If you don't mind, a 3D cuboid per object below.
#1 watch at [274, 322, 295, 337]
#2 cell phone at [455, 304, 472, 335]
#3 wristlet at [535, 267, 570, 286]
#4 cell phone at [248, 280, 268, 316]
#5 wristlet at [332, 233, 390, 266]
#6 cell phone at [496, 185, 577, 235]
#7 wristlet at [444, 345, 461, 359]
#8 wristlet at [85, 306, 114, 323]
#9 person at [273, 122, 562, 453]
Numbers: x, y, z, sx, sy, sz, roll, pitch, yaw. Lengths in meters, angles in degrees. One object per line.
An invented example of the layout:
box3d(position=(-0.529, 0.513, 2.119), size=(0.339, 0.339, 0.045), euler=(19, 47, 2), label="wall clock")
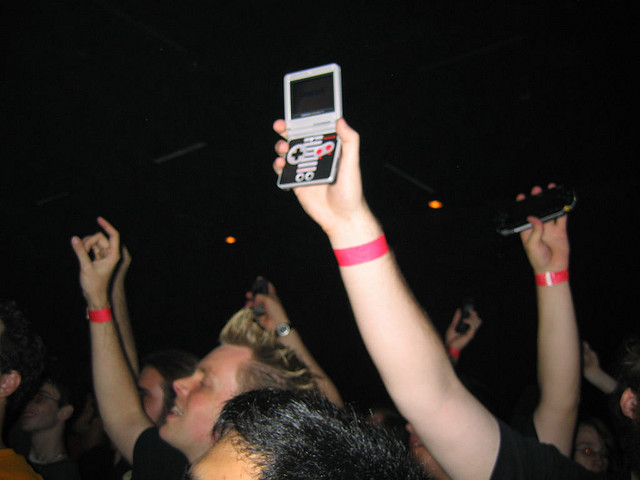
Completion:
box3d(position=(-0.157, 0.390, 2.467), size=(0.081, 0.054, 0.077), euler=(-47, -26, 3), label="watch")
box3d(position=(0.594, 0.329, 2.266), size=(0.061, 0.125, 0.029), euler=(17, -6, 18), label="cell phone")
box3d(position=(0.822, 0.132, 1.938), size=(0.073, 0.030, 0.072), euler=(-4, -15, -18), label="wristlet")
box3d(position=(-0.279, 0.254, 2.459), size=(0.098, 0.143, 0.043), euler=(0, -6, 11), label="cell phone")
box3d(position=(0.115, 0.029, 1.483), size=(0.145, 0.059, 0.034), euler=(-13, 9, 0), label="wristlet")
box3d(position=(0.857, -0.080, 2.169), size=(0.289, 0.164, 0.066), euler=(-25, -53, 24), label="cell phone")
box3d(position=(0.551, 0.463, 2.258), size=(0.072, 0.075, 0.056), euler=(1, -3, 20), label="wristlet")
box3d(position=(-0.991, 0.329, 2.483), size=(0.080, 0.053, 0.083), euler=(0, -8, -4), label="wristlet")
box3d(position=(0.166, 0.219, 1.568), size=(0.171, 1.336, 0.262), euler=(-33, -13, 30), label="person")
